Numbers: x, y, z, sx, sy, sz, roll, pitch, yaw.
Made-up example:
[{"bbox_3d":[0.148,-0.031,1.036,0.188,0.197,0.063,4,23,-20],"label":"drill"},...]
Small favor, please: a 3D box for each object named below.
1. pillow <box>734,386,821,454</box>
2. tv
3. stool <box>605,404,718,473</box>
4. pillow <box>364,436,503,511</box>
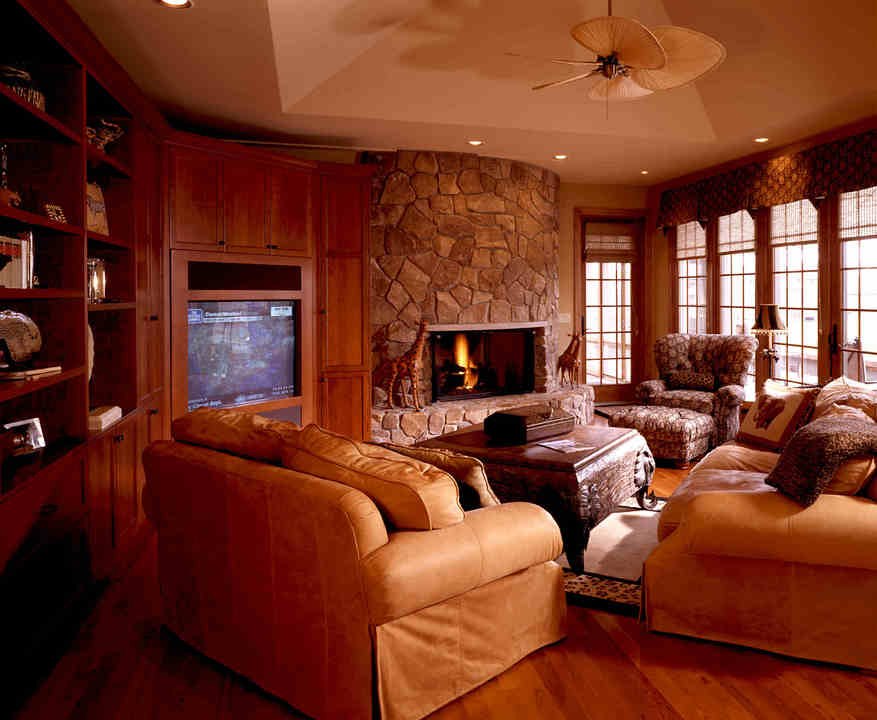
[{"bbox_3d":[2.157,0.376,3.857,0.131,0.411,0.430,28,-10,-8],"label":"pillow"},{"bbox_3d":[-1.538,-0.054,4.846,0.984,0.847,0.091,-7,10,-44],"label":"tv"},{"bbox_3d":[1.981,0.564,5.148,0.594,0.313,0.633,-4,7,-39],"label":"stool"},{"bbox_3d":[0.056,0.413,2.514,0.317,0.104,0.343,23,-7,-25],"label":"pillow"}]
